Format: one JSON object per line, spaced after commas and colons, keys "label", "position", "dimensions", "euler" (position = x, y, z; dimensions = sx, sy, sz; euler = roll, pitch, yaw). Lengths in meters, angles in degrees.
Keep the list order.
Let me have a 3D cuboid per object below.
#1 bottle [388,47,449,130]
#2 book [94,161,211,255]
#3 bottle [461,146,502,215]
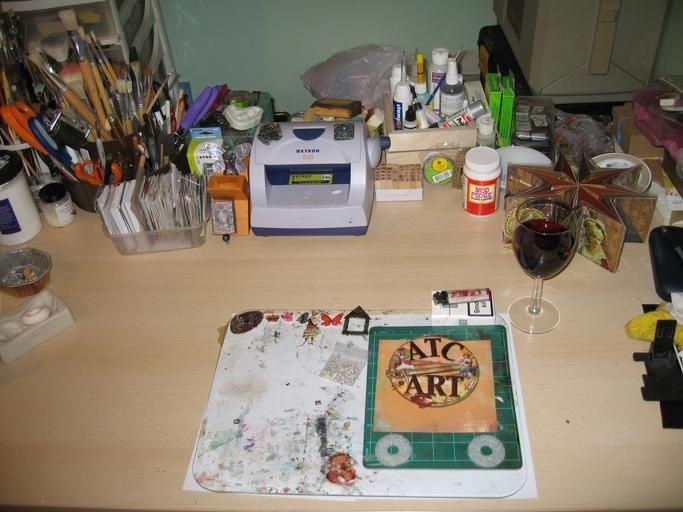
{"label": "bottle", "position": [0.249, -0.542, 1.720], "dimensions": [0.178, 0.188, 0.360], "euler": [3, 32, 16]}
{"label": "book", "position": [-0.517, -0.108, 1.567], "dimensions": [0.290, 0.110, 0.229], "euler": [-3, 69, -5]}
{"label": "bottle", "position": [0.403, -0.207, 1.549], "dimensions": [0.109, 0.175, 0.107], "euler": [-6, 37, 4]}
